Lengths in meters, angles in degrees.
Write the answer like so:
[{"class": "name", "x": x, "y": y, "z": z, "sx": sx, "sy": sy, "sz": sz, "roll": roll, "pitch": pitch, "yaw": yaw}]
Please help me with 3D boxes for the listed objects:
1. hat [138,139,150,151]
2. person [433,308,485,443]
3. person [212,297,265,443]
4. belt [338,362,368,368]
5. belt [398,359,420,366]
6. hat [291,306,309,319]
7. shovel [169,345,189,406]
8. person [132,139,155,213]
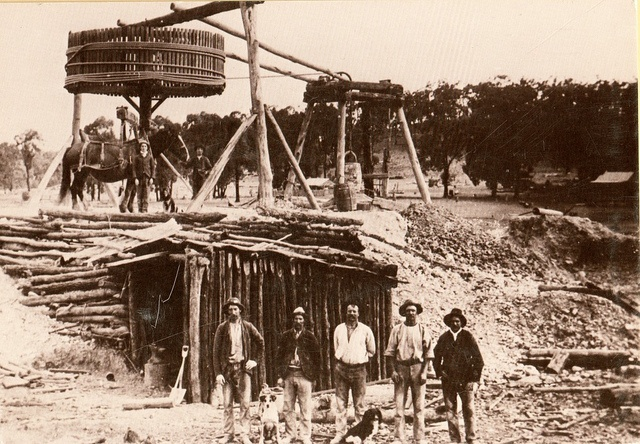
[{"class": "hat", "x": -5.355, "y": -2.313, "z": 20.691, "sx": 0.316, "sy": 0.373, "sz": 0.523, "roll": 1, "pitch": -8, "yaw": -14}, {"class": "person", "x": 3.167, "y": 3.552, "z": 15.693, "sx": 1.066, "sy": 3.046, "sz": 0.545, "roll": -2, "pitch": -7, "yaw": 11}, {"class": "person", "x": -1.900, "y": 3.377, "z": 15.542, "sx": 1.076, "sy": 3.218, "sz": 0.482, "roll": 1, "pitch": -7, "yaw": -8}, {"class": "belt", "x": 0.714, "y": 3.242, "z": 15.521, "sx": 0.553, "sy": 0.141, "sz": 0.103, "roll": 0, "pitch": -8, "yaw": -2}, {"class": "belt", "x": 2.033, "y": 3.220, "z": 15.587, "sx": 0.482, "sy": 0.156, "sz": 0.067, "roll": -2, "pitch": -7, "yaw": 10}, {"class": "hat", "x": -0.478, "y": 2.078, "z": 15.522, "sx": 0.213, "sy": 0.257, "sz": 0.288, "roll": -3, "pitch": -8, "yaw": 20}, {"class": "shovel", "x": -3.524, "y": 3.916, "z": 17.152, "sx": 0.387, "sy": 1.580, "sz": 0.219, "roll": 6, "pitch": -10, "yaw": -2}, {"class": "person", "x": -5.373, "y": -1.402, "z": 20.810, "sx": 0.626, "sy": 2.322, "sz": 0.985, "roll": 1, "pitch": -8, "yaw": -14}]
